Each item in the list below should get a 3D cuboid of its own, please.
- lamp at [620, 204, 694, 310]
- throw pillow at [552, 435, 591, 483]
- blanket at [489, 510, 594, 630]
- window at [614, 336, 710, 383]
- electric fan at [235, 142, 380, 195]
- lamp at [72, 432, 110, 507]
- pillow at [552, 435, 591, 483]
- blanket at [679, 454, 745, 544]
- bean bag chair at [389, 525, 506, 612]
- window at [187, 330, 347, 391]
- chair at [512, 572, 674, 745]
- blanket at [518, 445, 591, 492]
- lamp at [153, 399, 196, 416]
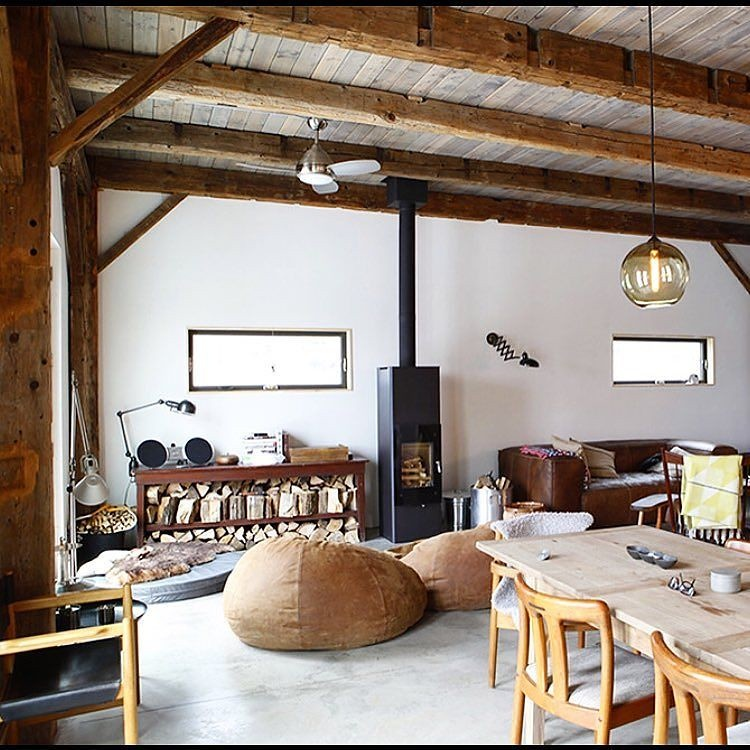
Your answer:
[{"bbox_3d":[1.324,-0.520,3.275,0.282,0.402,0.286,-1,4,-5],"label":"lamp"},{"bbox_3d":[1.829,0.806,6.581,0.165,0.391,0.352,-9,11,-24],"label":"throw pillow"},{"bbox_3d":[0.810,1.030,3.608,0.646,0.591,0.450,-1,-1,-25],"label":"blanket"},{"bbox_3d":[3.227,-0.147,8.004,1.344,0.569,0.156,0,1,-14],"label":"window"},{"bbox_3d":[-0.382,-1.327,4.709,0.693,0.230,0.617,-5,5,-27],"label":"electric fan"},{"bbox_3d":[-1.775,0.530,4.368,0.204,0.514,0.165,2,1,-34],"label":"lamp"},{"bbox_3d":[1.829,0.806,6.581,0.165,0.391,0.352,-9,11,-24],"label":"pillow"},{"bbox_3d":[2.184,0.784,4.570,0.516,0.612,0.195,1,-7,18],"label":"blanket"},{"bbox_3d":[0.488,1.241,4.440,0.637,0.200,0.684,-3,4,-10],"label":"bean bag chair"},{"bbox_3d":[-0.949,-0.119,6.389,1.521,0.596,0.211,-1,0,-21],"label":"window"},{"bbox_3d":[0.742,1.081,2.558,0.508,0.730,0.499,1,4,19],"label":"chair"},{"bbox_3d":[1.672,0.849,6.625,0.474,0.294,0.458,2,-2,-38],"label":"blanket"},{"bbox_3d":[-1.642,0.266,5.839,0.296,0.104,0.154,3,2,17],"label":"lamp"}]
